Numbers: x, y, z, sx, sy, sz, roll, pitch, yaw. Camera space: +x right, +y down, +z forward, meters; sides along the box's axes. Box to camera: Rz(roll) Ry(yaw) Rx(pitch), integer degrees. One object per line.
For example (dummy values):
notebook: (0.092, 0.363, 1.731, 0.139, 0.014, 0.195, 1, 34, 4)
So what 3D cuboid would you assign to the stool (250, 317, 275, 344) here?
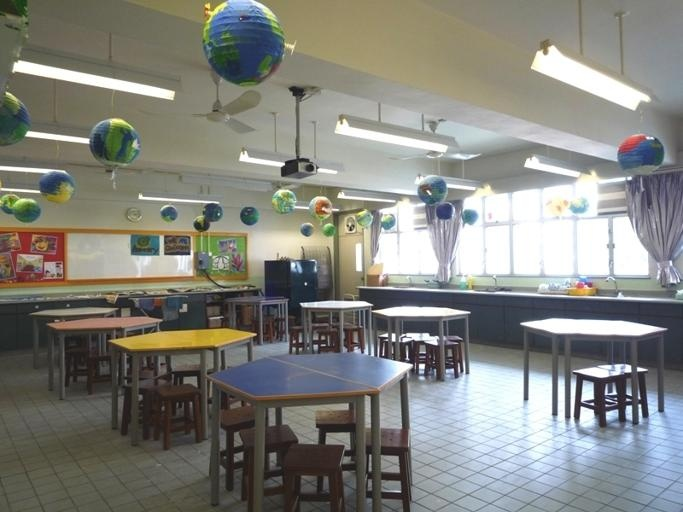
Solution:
stool: (-1.761, 1.644, 11.473, 0.550, 0.703, 0.562, -1, -3, 14)

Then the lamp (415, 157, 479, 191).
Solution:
lamp: (2.113, -1.659, 10.345, 1.253, 0.288, 1.188, 3, 3, 43)

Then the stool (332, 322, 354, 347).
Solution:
stool: (0.053, 1.427, 9.312, 0.407, 0.603, 0.419, 0, -4, -1)

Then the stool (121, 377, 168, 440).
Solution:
stool: (-2.292, 1.719, 6.043, 0.639, 0.805, 0.593, 3, -4, -26)

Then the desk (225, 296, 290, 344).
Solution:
desk: (-1.711, 1.227, 11.245, 1.234, 1.178, 1.094, -1, -2, 43)

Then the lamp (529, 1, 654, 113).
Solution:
lamp: (2.556, -2.136, 5.336, 1.736, 1.036, 0.663, 2, -4, -44)

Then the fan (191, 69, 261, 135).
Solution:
fan: (-1.441, -1.862, 5.999, 0.555, 0.447, 0.443, 1, -2, -36)

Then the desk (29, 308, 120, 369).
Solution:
desk: (-4.262, 1.481, 8.459, 1.010, 0.713, 0.968, 4, -1, 32)

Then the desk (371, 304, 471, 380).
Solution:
desk: (1.280, 1.283, 8.213, 1.174, 0.973, 1.291, 1, -2, -31)

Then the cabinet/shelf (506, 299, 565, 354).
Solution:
cabinet/shelf: (3.249, 1.164, 8.641, 0.499, 0.928, 1.011, 0, 0, -31)

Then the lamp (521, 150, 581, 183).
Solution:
lamp: (3.627, -1.565, 8.907, 1.473, 0.201, 0.212, 2, -4, -37)

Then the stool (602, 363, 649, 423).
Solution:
stool: (3.448, 1.659, 6.472, 0.597, 0.712, 0.601, 0, -3, -23)

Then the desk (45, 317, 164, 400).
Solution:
desk: (-3.143, 1.347, 7.492, 1.124, 0.723, 1.185, -10, -8, -16)

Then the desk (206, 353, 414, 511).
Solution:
desk: (-0.302, 1.612, 4.672, 1.824, 1.238, 1.158, -1, -3, 7)

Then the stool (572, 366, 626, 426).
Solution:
stool: (3.067, 1.605, 6.235, 0.591, 0.720, 0.585, -1, 1, -23)

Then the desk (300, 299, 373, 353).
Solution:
desk: (-0.147, 1.470, 9.276, 1.269, 0.817, 1.096, -1, 0, -5)

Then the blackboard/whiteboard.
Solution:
blackboard/whiteboard: (-4.779, 0.020, 11.536, 2.423, 1.027, 0.099, 2, -3, -35)

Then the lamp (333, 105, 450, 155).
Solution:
lamp: (0.742, -1.613, 6.771, 1.813, 0.245, 0.270, 2, -4, -34)

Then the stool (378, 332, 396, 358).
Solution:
stool: (0.714, 1.514, 8.852, 0.385, 0.514, 0.395, 0, -2, -7)

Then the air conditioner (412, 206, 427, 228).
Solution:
air conditioner: (1.920, -0.963, 12.735, 0.258, 0.510, 0.502, -3, 5, -22)

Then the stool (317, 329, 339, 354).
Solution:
stool: (-0.236, 1.507, 9.358, 0.427, 0.586, 0.437, 0, -2, -20)

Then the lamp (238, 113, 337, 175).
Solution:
lamp: (-0.936, -1.831, 8.355, 0.164, 0.577, 1.240, -23, -17, 34)

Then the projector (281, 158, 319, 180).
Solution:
projector: (-0.572, -1.156, 6.789, 0.245, 0.252, 0.515, 2, -4, -40)

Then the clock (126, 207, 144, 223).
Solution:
clock: (-4.670, -0.930, 11.631, 0.073, 0.318, 0.317, -5, -6, 43)

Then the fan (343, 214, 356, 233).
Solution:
fan: (0.240, -0.889, 14.460, 0.146, 0.422, 0.433, 0, -3, -39)

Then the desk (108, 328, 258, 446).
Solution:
desk: (-1.907, 1.712, 6.077, 1.234, 1.031, 1.593, -1, 0, 35)

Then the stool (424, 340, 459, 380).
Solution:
stool: (1.618, 1.618, 8.161, 0.535, 0.660, 0.531, 0, -2, -20)

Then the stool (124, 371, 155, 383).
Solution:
stool: (-2.438, 1.461, 6.272, 0.288, 0.104, 0.439, 2, 0, 3)
